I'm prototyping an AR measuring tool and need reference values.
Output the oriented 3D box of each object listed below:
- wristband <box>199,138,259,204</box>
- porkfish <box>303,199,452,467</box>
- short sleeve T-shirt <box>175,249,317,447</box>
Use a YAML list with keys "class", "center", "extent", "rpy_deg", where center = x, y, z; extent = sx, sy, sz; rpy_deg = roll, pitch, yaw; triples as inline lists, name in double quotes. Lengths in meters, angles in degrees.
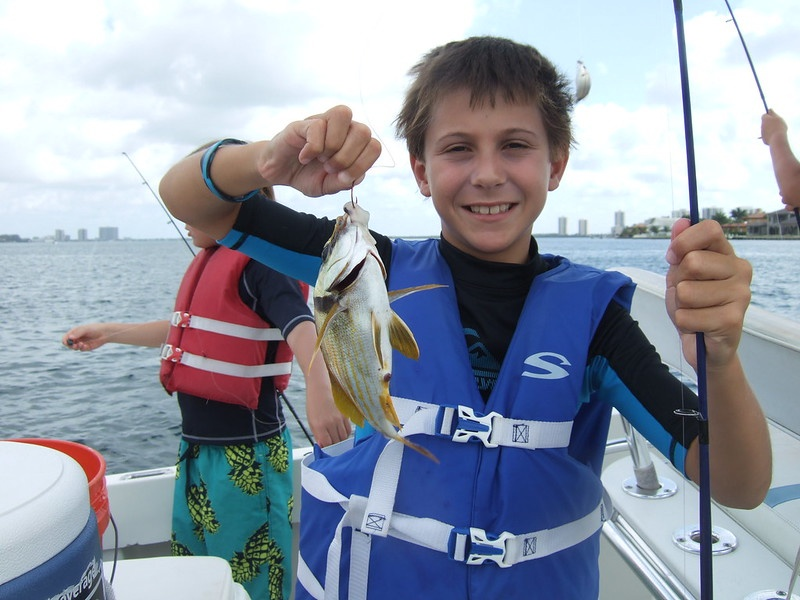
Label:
- class: "wristband"
  center: [-0.665, -0.505, 2.633]
  extent: [0.233, 0.227, 0.104]
  rpy_deg: [-26, 3, -18]
- class: "porkfish"
  center: [-0.095, 0.091, 2.335]
  extent: [0.378, 0.962, 0.352]
  rpy_deg: [0, -3, -37]
- class: "short sleeve T-shirt"
  center: [-0.866, 0.260, 3.678]
  extent: [0.955, 1.039, 0.453]
  rpy_deg: [-4, -11, 42]
